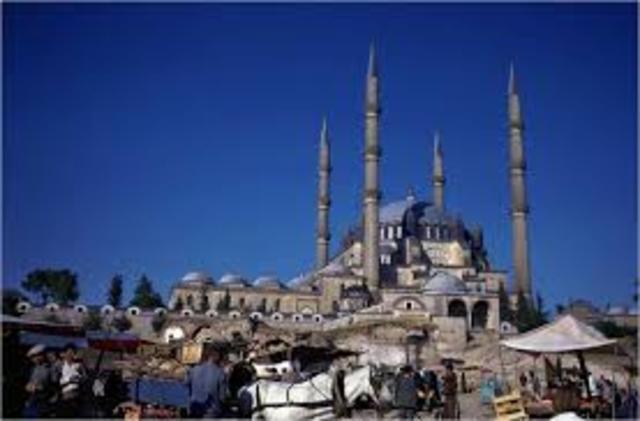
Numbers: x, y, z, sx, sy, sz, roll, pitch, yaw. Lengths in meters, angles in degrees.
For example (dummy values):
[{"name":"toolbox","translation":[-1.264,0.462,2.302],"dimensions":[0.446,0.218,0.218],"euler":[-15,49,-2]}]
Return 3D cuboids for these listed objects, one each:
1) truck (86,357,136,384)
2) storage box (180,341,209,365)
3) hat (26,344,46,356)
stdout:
[{"name":"truck","translation":[-6.419,4.946,24.735],"dimensions":[1.524,0.665,2.395],"euler":[2,-6,-24]},{"name":"storage box","translation":[-3.639,4.180,23.458],"dimensions":[0.802,0.775,0.779],"euler":[3,-38,-4]},{"name":"hat","translation":[-7.583,3.748,21.495],"dimensions":[0.363,0.102,0.335],"euler":[-19,1,-5]}]
